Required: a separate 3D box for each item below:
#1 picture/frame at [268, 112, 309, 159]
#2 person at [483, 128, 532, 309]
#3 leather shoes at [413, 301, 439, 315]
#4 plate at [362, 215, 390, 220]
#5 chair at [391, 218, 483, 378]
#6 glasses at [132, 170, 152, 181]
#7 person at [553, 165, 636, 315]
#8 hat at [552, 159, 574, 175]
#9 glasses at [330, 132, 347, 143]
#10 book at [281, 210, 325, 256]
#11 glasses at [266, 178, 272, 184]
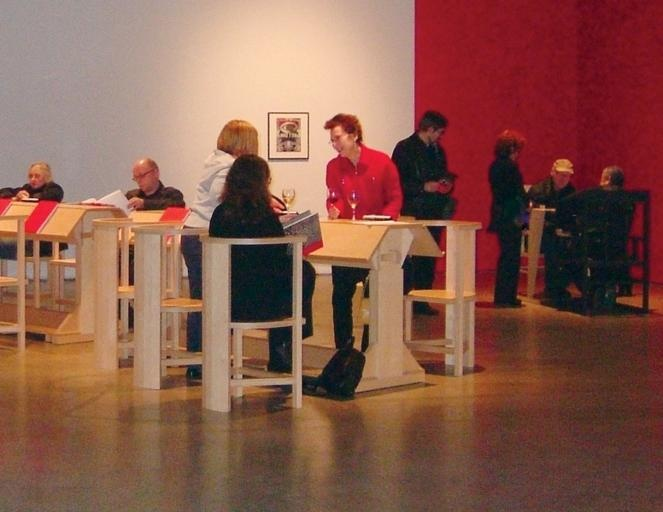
[{"bbox_3d":[-0.586,-1.593,11.064,0.580,0.661,0.023,0,1,-9],"label":"picture/frame"},{"bbox_3d":[1.865,-0.376,8.966,0.377,1.816,0.472,-1,-4,6],"label":"person"},{"bbox_3d":[0.947,0.527,8.521,0.272,0.191,0.107,-2,-1,19],"label":"leather shoes"},{"bbox_3d":[0.307,-0.265,5.944,0.188,0.043,0.141,-2,-3,14],"label":"plate"},{"bbox_3d":[0.826,0.300,6.244,0.576,1.125,0.584,-1,-3,-5],"label":"chair"},{"bbox_3d":[-1.900,-0.821,8.524,0.120,0.146,0.139,-10,-1,35],"label":"glasses"},{"bbox_3d":[2.724,-0.186,8.770,0.669,1.438,0.956,-1,-3,-3],"label":"person"},{"bbox_3d":[2.540,-0.967,9.349,0.205,0.111,0.299,5,5,7],"label":"hat"},{"bbox_3d":[0.048,-0.879,6.402,0.100,0.080,0.079,1,-2,-32],"label":"glasses"},{"bbox_3d":[-0.199,-0.138,5.497,0.239,0.237,0.138,-19,5,-26],"label":"book"},{"bbox_3d":[-0.399,-0.471,5.354,0.029,0.032,0.037,-1,-9,0],"label":"glasses"}]
